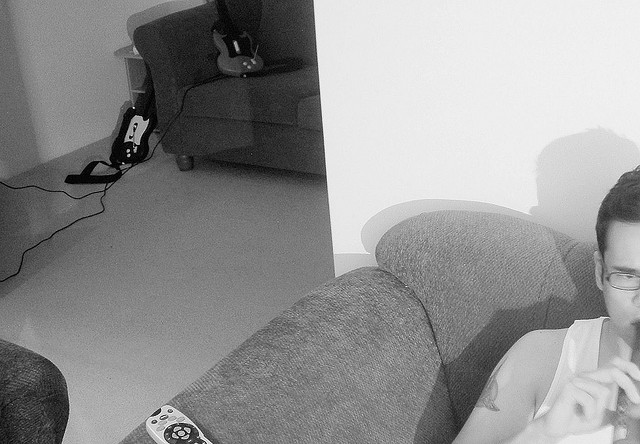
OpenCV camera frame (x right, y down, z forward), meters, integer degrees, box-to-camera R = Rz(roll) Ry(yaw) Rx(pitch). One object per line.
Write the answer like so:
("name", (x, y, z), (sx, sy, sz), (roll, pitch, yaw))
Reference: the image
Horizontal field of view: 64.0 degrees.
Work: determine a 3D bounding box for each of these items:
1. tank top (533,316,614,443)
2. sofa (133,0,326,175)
("tank top", (0.501, 0.301, 1.000), (0.138, 0.207, 0.147), (6, 14, 23))
("sofa", (-0.242, -0.359, 1.563), (0.499, 0.495, 0.404), (-3, 2, -3))
